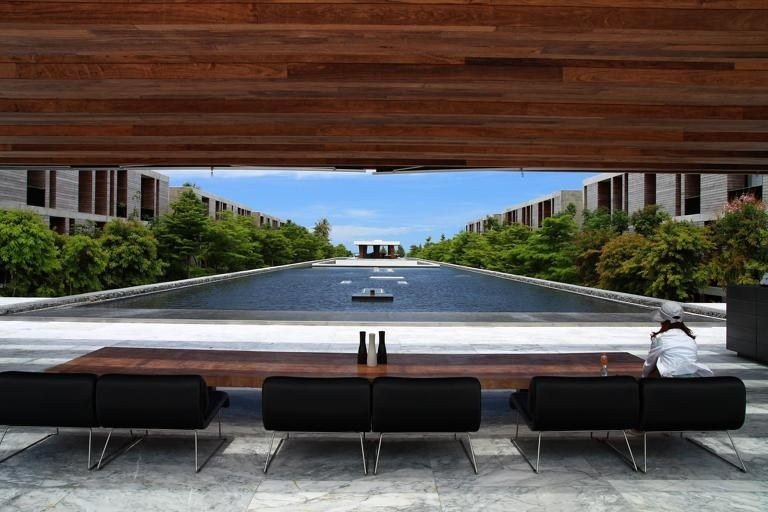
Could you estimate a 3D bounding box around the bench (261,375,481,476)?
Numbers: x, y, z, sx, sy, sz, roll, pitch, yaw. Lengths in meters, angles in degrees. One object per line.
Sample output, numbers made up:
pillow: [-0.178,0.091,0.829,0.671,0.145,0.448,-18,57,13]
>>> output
bench: [-0.114,1.618,5.137,1.995,0.452,0.723,0,6,0]

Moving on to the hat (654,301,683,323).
hat: [2.848,0.543,5.585,0.329,0.116,0.306,2,7,14]
